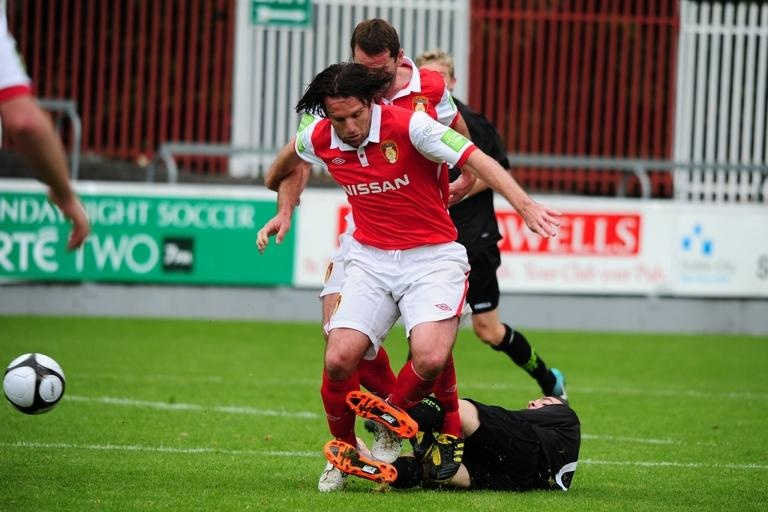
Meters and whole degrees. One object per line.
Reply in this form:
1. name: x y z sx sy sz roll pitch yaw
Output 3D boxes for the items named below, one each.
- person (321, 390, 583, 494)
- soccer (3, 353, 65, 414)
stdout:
1. person: 0.797 1.573 9.244 1.543 0.722 1.065 -2 -21 4
2. soccer: -3.096 1.203 9.531 0.465 0.559 0.508 5 -10 1
